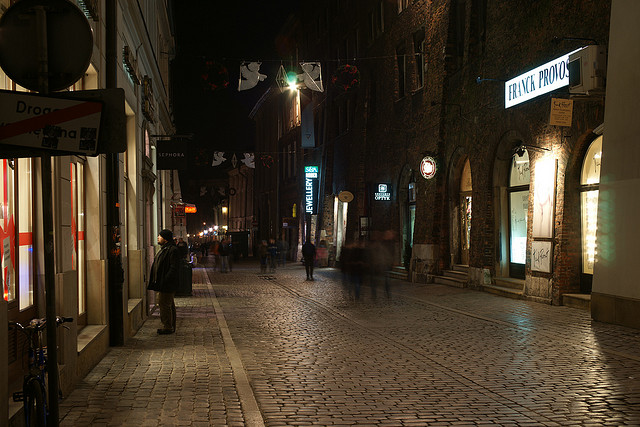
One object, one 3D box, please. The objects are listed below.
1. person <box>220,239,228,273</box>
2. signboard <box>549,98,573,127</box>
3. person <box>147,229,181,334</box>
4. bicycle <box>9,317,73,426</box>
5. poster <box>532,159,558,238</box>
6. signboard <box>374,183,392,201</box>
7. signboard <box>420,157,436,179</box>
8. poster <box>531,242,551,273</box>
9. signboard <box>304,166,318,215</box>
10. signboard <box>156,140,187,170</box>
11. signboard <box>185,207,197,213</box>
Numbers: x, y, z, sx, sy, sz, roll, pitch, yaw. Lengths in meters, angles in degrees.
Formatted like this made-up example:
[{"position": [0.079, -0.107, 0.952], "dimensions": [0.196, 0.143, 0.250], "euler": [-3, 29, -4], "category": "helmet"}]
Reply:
[{"position": [-5.692, 2.668, 35.234], "dimensions": [0.373, 1.827, 0.752], "euler": [0, 0, -10], "category": "person"}, {"position": [6.881, -2.827, 16.691], "dimensions": [0.669, 0.911, 0.087], "euler": [6, -3, -4], "category": "signboard"}, {"position": [-3.559, 1.572, 13.514], "dimensions": [0.672, 2.339, 0.726], "euler": [0, 0, -18], "category": "person"}, {"position": [-3.179, 1.856, 6.926], "dimensions": [0.643, 0.868, 1.323], "euler": [-1, -7, -10], "category": "bicycle"}, {"position": [6.981, -0.413, 18.242], "dimensions": [0.215, 2.350, 1.050], "euler": [0, 0, -12], "category": "poster"}, {"position": [3.269, -1.042, 30.139], "dimensions": [0.942, 0.885, 0.302], "euler": [0, 0, -24], "category": "signboard"}, {"position": [4.668, -1.928, 25.217], "dimensions": [0.154, 0.740, 0.720], "euler": [2, 41, -27], "category": "signboard"}, {"position": [6.866, 1.343, 18.192], "dimensions": [0.103, 0.926, 0.986], "euler": [4, -4, -14], "category": "poster"}, {"position": [-0.606, -1.633, 44.170], "dimensions": [0.949, 3.547, 0.753], "euler": [0, 0, -2], "category": "signboard"}, {"position": [-4.921, -1.902, 19.577], "dimensions": [0.835, 0.947, 0.090], "euler": [-1, -8, 9], "category": "signboard"}, {"position": [-12.155, -0.291, 55.454], "dimensions": [1.080, 0.324, 1.243], "euler": [0, -5, -2], "category": "signboard"}]
